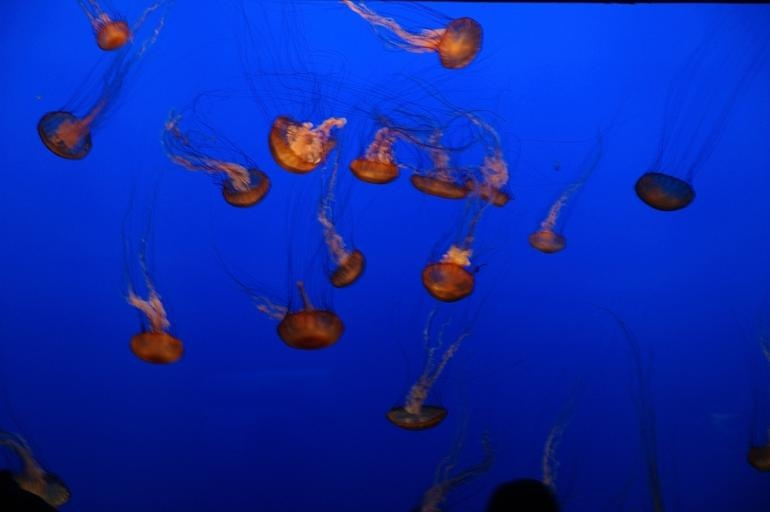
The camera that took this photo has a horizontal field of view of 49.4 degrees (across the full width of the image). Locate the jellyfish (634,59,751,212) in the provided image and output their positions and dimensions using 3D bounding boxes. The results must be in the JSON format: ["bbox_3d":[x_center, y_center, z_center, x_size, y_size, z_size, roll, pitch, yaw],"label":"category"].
[{"bbox_3d":[1.423,-0.477,3.730,0.682,0.266,0.236,-40,-74,19],"label":"jellyfish"}]

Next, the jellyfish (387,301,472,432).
[{"bbox_3d":[0.195,0.505,3.786,0.310,0.266,0.561,-7,-76,-23],"label":"jellyfish"}]

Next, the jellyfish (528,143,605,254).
[{"bbox_3d":[0.795,-0.282,3.763,0.267,0.235,0.523,-5,-74,-15],"label":"jellyfish"}]

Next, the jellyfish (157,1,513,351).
[{"bbox_3d":[-0.256,-0.426,3.718,1.554,0.533,1.694,2,-92,-3],"label":"jellyfish"}]
